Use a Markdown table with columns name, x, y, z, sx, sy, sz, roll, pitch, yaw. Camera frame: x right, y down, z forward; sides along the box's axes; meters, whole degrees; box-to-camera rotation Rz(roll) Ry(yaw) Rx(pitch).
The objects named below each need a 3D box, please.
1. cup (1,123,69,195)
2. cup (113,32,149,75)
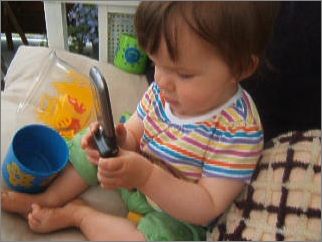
| name | x | y | z | sx | sy | sz | roll | pitch | yaw |
| --- | --- | --- | --- | --- | --- | --- | --- | --- | --- |
| cup | -0.471 | 0.132 | 0.989 | 0.218 | 0.187 | 0.264 | 17 | 64 | -24 |
| cup | -0.182 | -0.361 | 1.451 | 0.132 | 0.165 | 0.145 | 8 | 7 | -1 |
